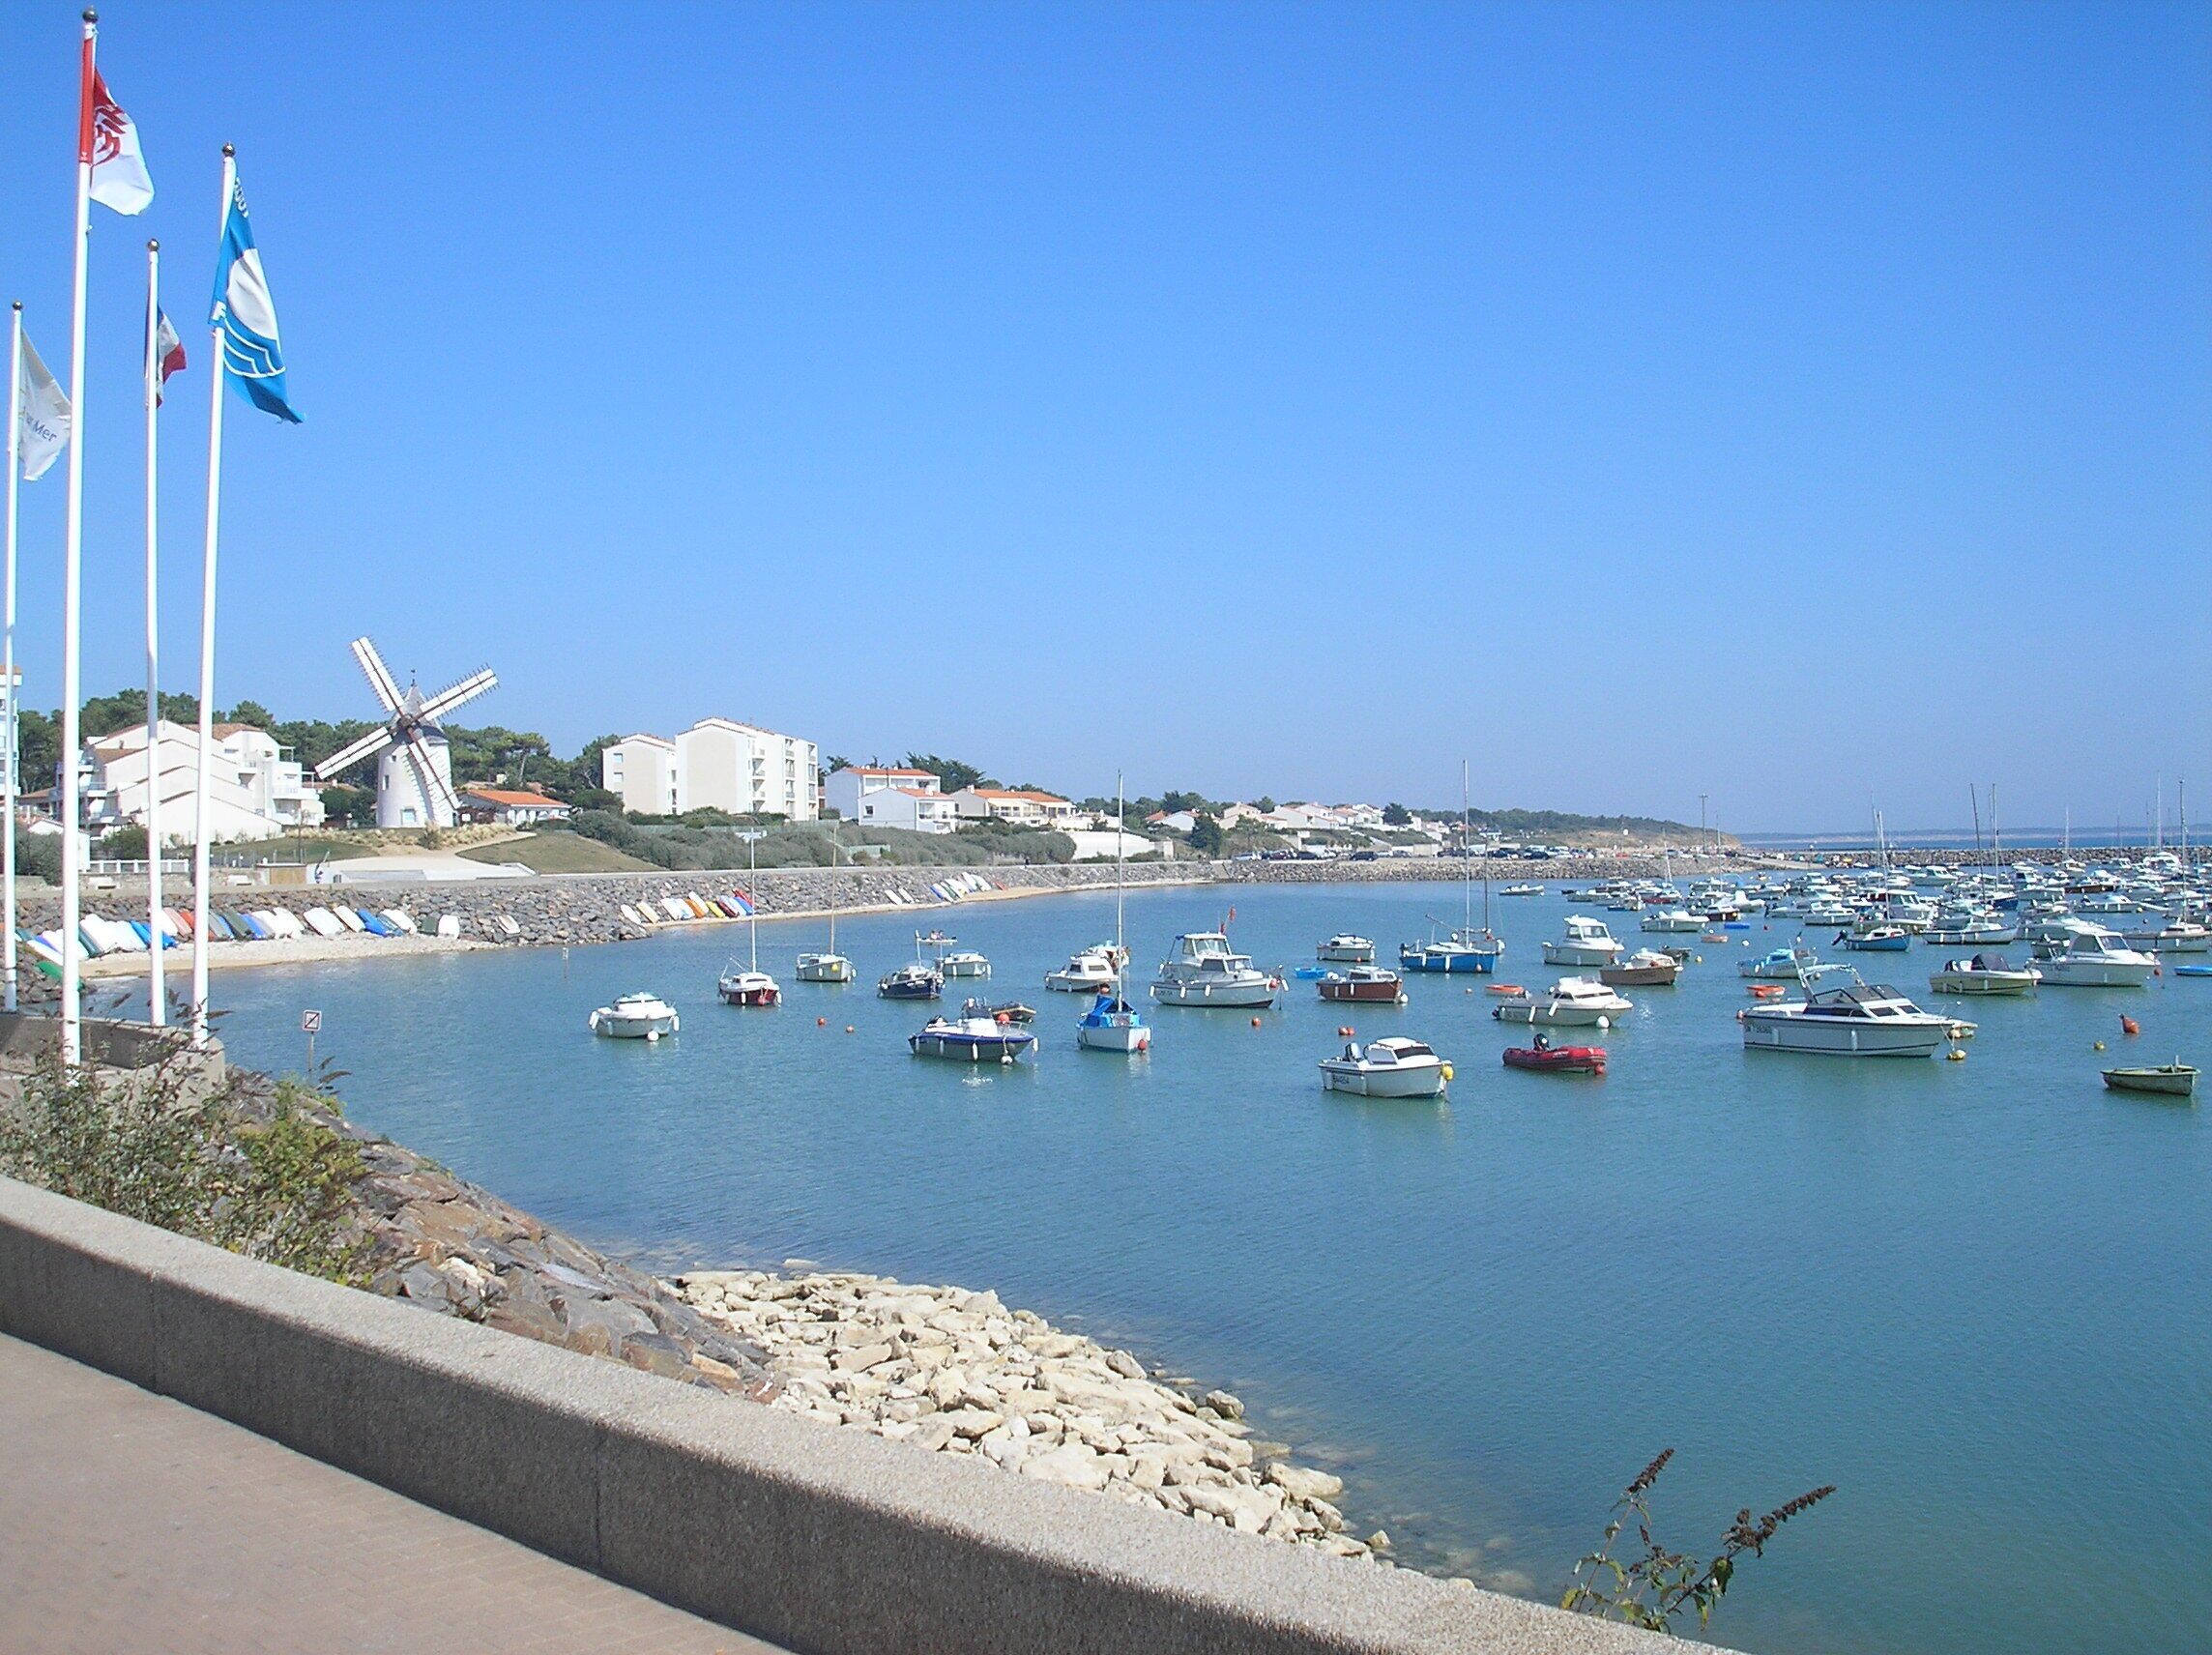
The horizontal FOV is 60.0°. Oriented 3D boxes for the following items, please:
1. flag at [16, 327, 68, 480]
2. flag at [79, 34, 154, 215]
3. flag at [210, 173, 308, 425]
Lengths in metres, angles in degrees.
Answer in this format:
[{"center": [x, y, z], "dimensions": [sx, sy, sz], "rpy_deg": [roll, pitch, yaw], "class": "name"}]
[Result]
[{"center": [-13.980, -5.470, 25.076], "dimensions": [0.540, 1.956, 1.054], "rpy_deg": [1, -1, -31], "class": "flag"}, {"center": [-11.539, -8.144, 22.082], "dimensions": [0.690, 0.281, 2.677], "rpy_deg": [-16, -22, -33], "class": "flag"}, {"center": [-11.088, -6.768, 24.716], "dimensions": [0.853, 3.223, 2.173], "rpy_deg": [1, -1, -24], "class": "flag"}]
